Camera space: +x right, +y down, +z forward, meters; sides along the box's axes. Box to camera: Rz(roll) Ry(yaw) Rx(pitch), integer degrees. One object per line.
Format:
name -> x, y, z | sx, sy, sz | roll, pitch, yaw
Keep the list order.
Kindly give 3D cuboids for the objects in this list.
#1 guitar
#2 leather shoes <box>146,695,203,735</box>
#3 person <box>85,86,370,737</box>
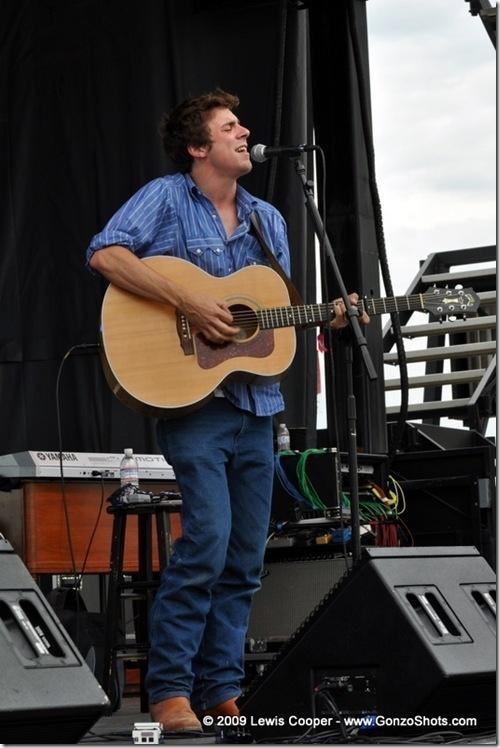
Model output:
guitar -> -0.083, -0.108, 2.730 | 0.599, 0.390, 0.213 | -2, 7, -26
leather shoes -> -0.177, 0.808, 2.492 | 0.095, 0.074, 0.187 | 0, 6, -13
person -> -0.078, 0.053, 2.829 | 0.643, 1.725, 0.646 | 0, 1, -15
